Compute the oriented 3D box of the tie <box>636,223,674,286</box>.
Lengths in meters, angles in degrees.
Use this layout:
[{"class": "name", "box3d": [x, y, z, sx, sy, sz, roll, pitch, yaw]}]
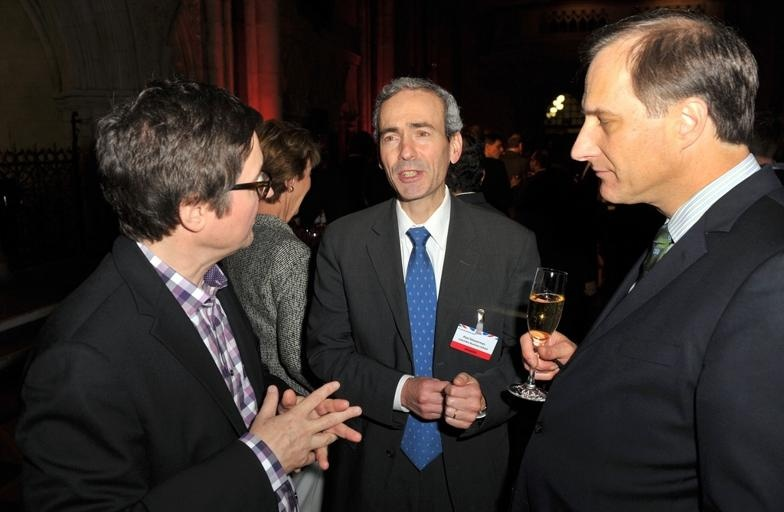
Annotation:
[{"class": "tie", "box3d": [1.012, -0.008, 2.066, 0.092, 0.243, 0.342, 14, 20, 24]}]
